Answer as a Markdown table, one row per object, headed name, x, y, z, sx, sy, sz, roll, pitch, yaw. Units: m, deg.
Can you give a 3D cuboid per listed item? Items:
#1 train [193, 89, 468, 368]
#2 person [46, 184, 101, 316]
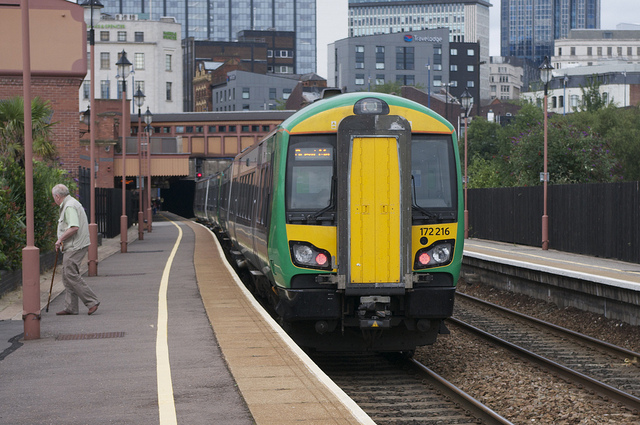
| name | x | y | z | sx | sy | sz | roll | pitch | yaw |
| --- | --- | --- | --- | --- | --- | --- | --- | --- | --- |
| train | 0.077 | 0.261 | 16.070 | 2.997 | 5.183 | 6.969 | -1 | 5 | -14 |
| person | -4.853 | 0.760 | 14.803 | 0.898 | 2.559 | 1.169 | -2 | 5 | -21 |
